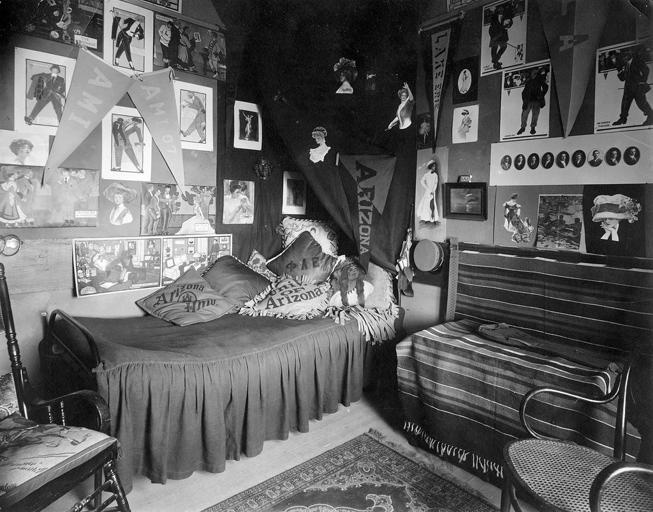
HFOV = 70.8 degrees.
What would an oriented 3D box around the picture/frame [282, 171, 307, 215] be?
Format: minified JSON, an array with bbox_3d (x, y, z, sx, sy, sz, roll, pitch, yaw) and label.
[{"bbox_3d":[-0.322,-0.610,4.333,0.359,0.553,0.024,-1,7,-42],"label":"picture/frame"}]

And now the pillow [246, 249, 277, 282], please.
[{"bbox_3d":[-0.586,0.101,4.141,0.049,0.288,0.196,-35,16,48],"label":"pillow"}]

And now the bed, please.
[{"bbox_3d":[-0.646,0.563,3.102,1.669,0.813,1.037,-9,13,-39],"label":"bed"}]

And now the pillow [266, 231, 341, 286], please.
[{"bbox_3d":[-0.213,0.045,3.965,0.454,0.451,0.140,41,-2,36],"label":"pillow"}]
